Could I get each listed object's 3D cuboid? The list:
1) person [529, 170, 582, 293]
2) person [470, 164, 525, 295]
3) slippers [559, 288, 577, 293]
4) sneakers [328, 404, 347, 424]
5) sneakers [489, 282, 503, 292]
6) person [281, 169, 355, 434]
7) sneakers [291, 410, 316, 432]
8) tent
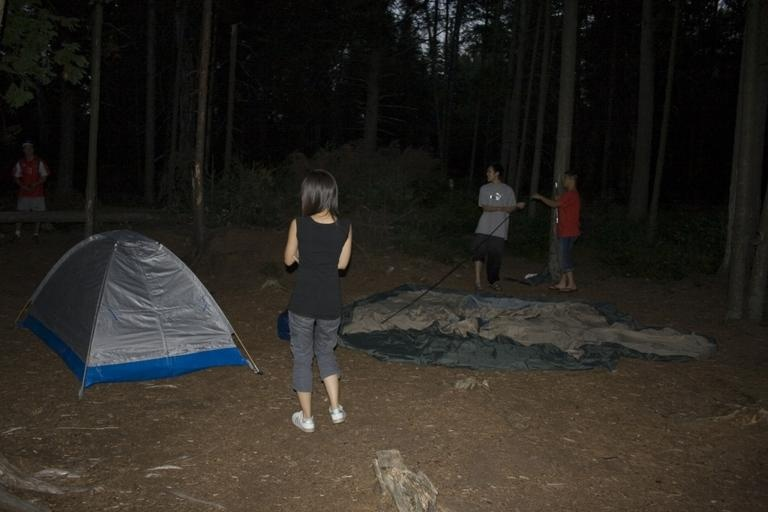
[{"bbox_3d":[3.609,-0.483,12.386,0.740,2.397,1.322,5,13,18],"label":"person"},{"bbox_3d":[2.155,-0.540,11.913,0.741,2.429,0.455,2,13,9],"label":"person"},{"bbox_3d":[3.675,0.697,12.163,0.227,0.052,0.111,4,-5,-11],"label":"slippers"},{"bbox_3d":[-0.513,1.796,6.902,0.125,0.127,0.282,-3,9,-7],"label":"sneakers"},{"bbox_3d":[2.212,0.628,12.163,0.154,0.114,0.385,-1,5,0],"label":"sneakers"},{"bbox_3d":[-0.718,0.531,6.762,0.700,2.916,0.516,-1,13,-8],"label":"person"},{"bbox_3d":[-0.918,1.883,6.932,0.139,0.144,0.338,1,9,-25],"label":"sneakers"},{"bbox_3d":[-3.690,0.554,8.821,2.356,1.538,3.230,-4,15,-40],"label":"tent"}]
